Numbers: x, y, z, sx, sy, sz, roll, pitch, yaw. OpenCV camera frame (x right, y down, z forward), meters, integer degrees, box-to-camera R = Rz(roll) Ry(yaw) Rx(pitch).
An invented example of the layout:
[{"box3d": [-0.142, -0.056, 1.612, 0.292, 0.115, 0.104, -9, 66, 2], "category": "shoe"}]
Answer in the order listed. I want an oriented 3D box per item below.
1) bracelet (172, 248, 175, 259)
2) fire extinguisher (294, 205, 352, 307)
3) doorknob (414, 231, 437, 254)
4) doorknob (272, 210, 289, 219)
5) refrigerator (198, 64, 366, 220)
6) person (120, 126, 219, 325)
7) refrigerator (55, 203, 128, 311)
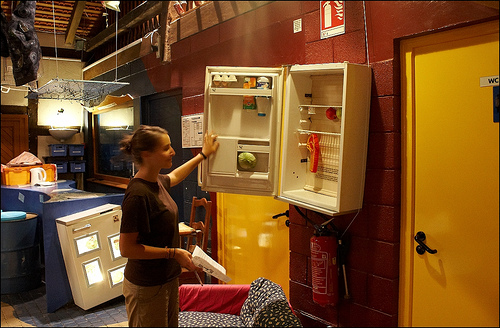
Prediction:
[{"box3d": [-0.463, 0.539, 2.155, 0.010, 0.066, 0.007, 9, 4, -5], "category": "bracelet"}, {"box3d": [0.560, 0.716, 2.655, 0.252, 0.728, 0.368, -7, 10, -10], "category": "fire extinguisher"}, {"box3d": [1.114, 0.493, 2.240, 0.041, 0.116, 0.157, -7, 10, -13], "category": "doorknob"}, {"box3d": [0.266, 0.407, 2.939, 0.110, 0.056, 0.058, -10, 15, 7], "category": "doorknob"}, {"box3d": [0.200, -0.210, 2.537, 1.244, 0.930, 0.456, 7, 10, 27], "category": "refrigerator"}, {"box3d": [-0.566, 0.482, 2.354, 0.567, 1.481, 0.568, -5, 10, -3], "category": "person"}, {"box3d": [-1.644, 0.982, 3.844, 0.607, 0.988, 0.294, -13, 13, -42], "category": "refrigerator"}]
